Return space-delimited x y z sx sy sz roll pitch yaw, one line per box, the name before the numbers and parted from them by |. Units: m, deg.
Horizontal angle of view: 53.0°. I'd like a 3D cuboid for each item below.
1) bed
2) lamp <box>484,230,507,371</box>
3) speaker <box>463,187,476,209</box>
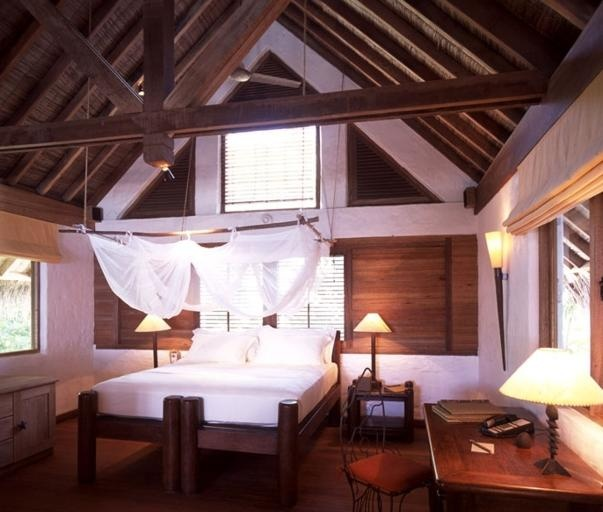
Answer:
bed | -0.756 1.355 5.544 1.187 0.939 1.551 -2 -8 16
lamp | 1.760 0.399 5.482 0.146 1.237 0.375 0 3 12
speaker | 1.882 -0.654 6.710 0.121 0.216 0.097 0 3 5
